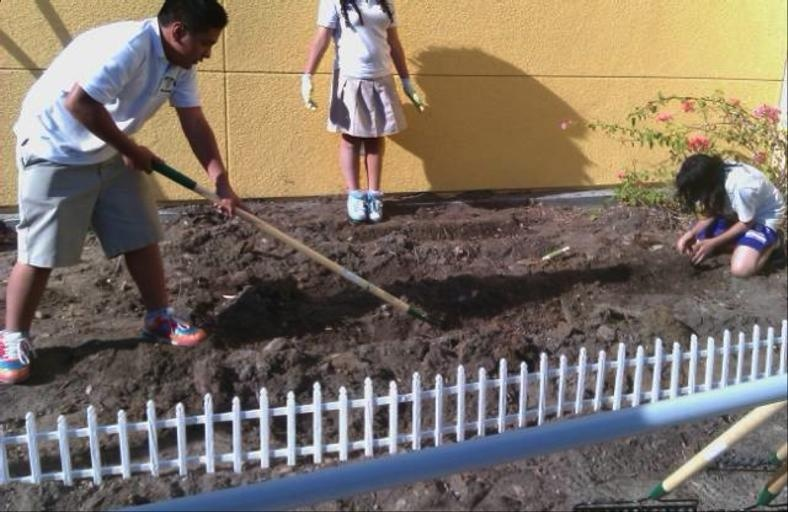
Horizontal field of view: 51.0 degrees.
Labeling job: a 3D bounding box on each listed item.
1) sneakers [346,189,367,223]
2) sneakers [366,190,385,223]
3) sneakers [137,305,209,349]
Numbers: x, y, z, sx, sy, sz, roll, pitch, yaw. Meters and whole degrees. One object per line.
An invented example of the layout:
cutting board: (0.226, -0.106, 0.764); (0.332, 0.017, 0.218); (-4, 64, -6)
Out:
sneakers: (-0.296, -0.403, 6.692); (0.110, 0.123, 0.294); (-3, 30, -8)
sneakers: (-0.154, -0.403, 6.770); (0.100, 0.126, 0.298); (-5, 71, -2)
sneakers: (-1.495, 0.454, 5.577); (0.460, 0.221, 0.191); (8, 18, -4)
